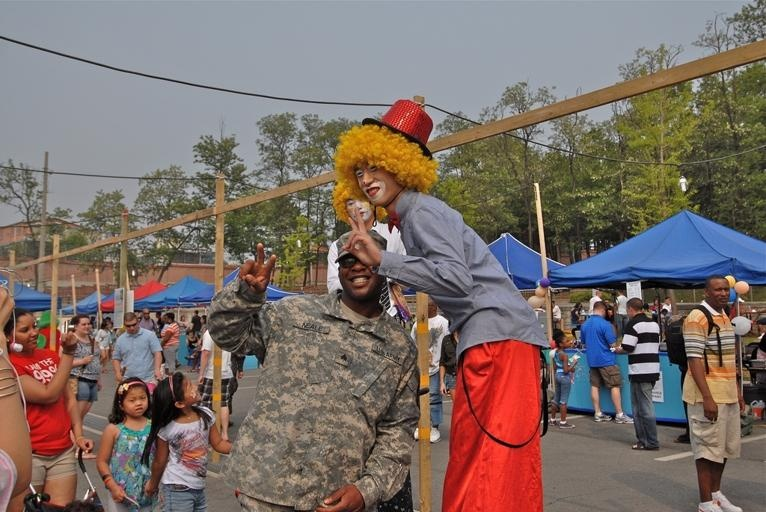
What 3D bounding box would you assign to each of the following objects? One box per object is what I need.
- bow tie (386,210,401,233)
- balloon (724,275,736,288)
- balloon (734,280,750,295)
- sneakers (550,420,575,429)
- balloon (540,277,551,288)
[{"bbox_3d":[0.102,-0.405,9.194,0.099,0.215,0.172,2,3,21],"label":"bow tie"},{"bbox_3d":[6.087,0.436,14.423,0.222,0.246,0.218,-1,8,11],"label":"balloon"},{"bbox_3d":[7.052,0.594,16.184,0.201,0.228,0.199,30,27,1],"label":"balloon"},{"bbox_3d":[3.646,3.399,16.721,0.490,0.208,0.172,13,-3,-29],"label":"sneakers"},{"bbox_3d":[3.501,0.572,17.769,0.214,0.207,0.251,14,-4,12],"label":"balloon"}]
